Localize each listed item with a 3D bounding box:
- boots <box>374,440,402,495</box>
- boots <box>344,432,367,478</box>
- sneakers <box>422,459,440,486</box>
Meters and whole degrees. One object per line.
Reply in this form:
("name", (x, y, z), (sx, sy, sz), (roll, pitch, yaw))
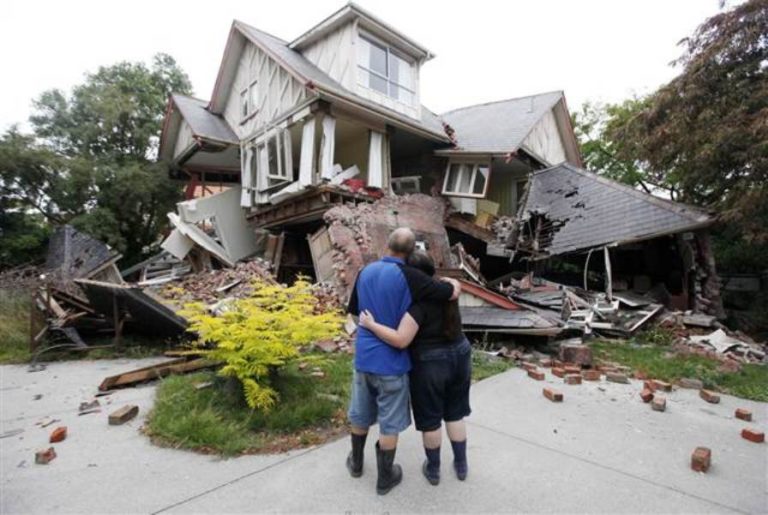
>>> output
("boots", (0.074, 2.460, 4.668), (0.245, 0.468, 0.529), (-3, -6, 24))
("boots", (-0.338, 2.385, 4.870), (0.242, 0.479, 0.502), (6, -7, -4))
("sneakers", (0.552, 2.536, 4.643), (0.145, 0.215, 0.315), (1, 6, -1))
